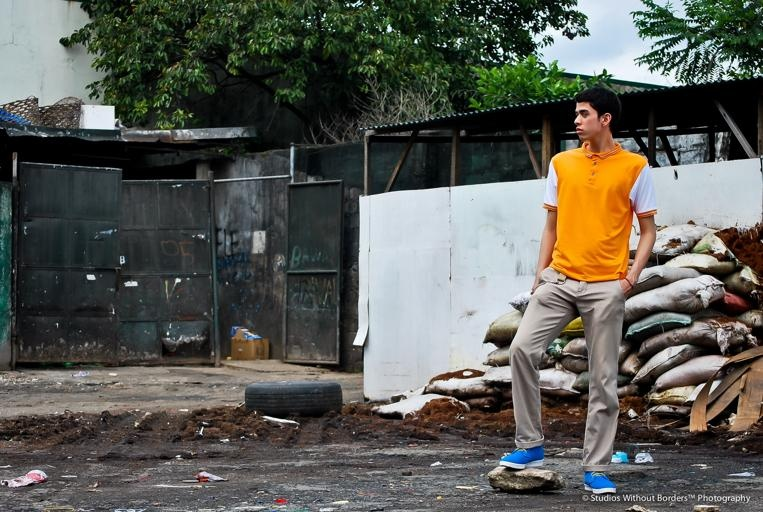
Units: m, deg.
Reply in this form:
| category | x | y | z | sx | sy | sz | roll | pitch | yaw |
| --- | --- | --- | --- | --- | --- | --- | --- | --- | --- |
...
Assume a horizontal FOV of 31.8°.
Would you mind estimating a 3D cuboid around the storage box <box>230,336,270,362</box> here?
| category | x | y | z | sx | sy | sz | roll | pitch | yaw |
| --- | --- | --- | --- | --- | --- | --- | --- | --- | --- |
| storage box | -2.552 | 1.812 | 25.819 | 0.512 | 0.315 | 0.520 | -1 | -2 | 10 |

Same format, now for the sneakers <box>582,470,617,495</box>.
| category | x | y | z | sx | sy | sz | roll | pitch | yaw |
| --- | --- | --- | --- | --- | --- | --- | --- | --- | --- |
| sneakers | 2.458 | 2.554 | 15.230 | 0.374 | 0.264 | 0.227 | -3 | -3 | 9 |

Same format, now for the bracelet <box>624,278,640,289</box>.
| category | x | y | z | sx | sy | sz | roll | pitch | yaw |
| --- | --- | --- | --- | --- | --- | --- | --- | --- | --- |
| bracelet | 2.823 | 0.324 | 15.388 | 0.122 | 0.123 | 0.115 | 1 | 8 | -11 |
